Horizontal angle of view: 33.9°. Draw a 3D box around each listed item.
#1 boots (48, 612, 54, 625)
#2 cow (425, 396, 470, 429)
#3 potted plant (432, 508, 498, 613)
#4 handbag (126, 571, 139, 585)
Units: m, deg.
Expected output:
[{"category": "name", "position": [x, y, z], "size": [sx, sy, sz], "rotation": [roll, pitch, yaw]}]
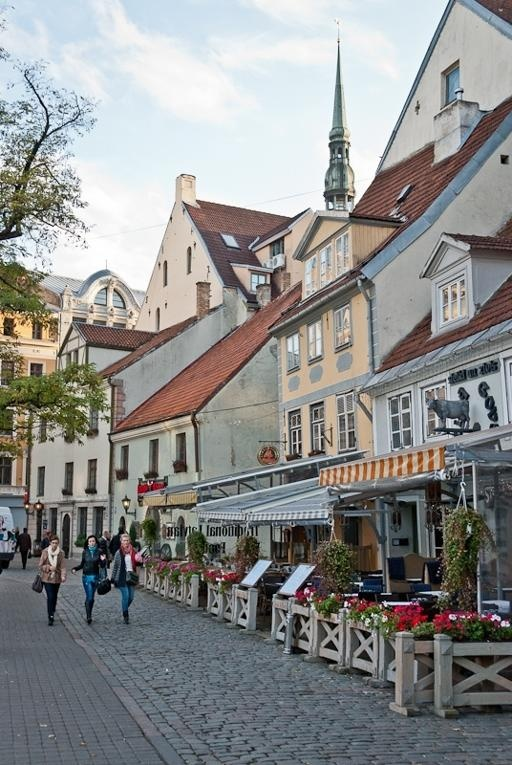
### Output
[{"category": "boots", "position": [-3.893, 4.479, 15.853], "size": [0.078, 0.239, 0.168], "rotation": [-2, 7, 2]}, {"category": "cow", "position": [3.739, 0.591, 16.279], "size": [0.538, 0.627, 1.185], "rotation": [-10, -15, 37]}, {"category": "potted plant", "position": [2.300, 1.924, 9.191], "size": [0.554, 1.099, 0.696], "rotation": [-3, -12, 12]}, {"category": "handbag", "position": [-2.512, 3.942, 16.849], "size": [0.130, 0.268, 0.288], "rotation": [-20, -25, 36]}]
